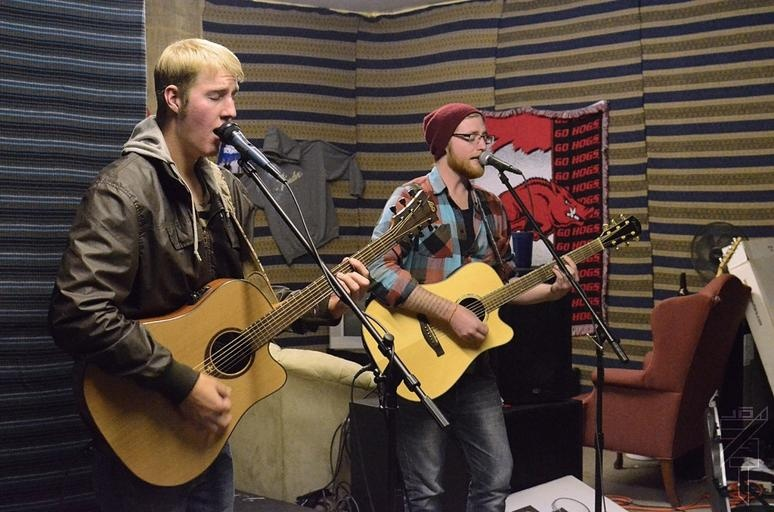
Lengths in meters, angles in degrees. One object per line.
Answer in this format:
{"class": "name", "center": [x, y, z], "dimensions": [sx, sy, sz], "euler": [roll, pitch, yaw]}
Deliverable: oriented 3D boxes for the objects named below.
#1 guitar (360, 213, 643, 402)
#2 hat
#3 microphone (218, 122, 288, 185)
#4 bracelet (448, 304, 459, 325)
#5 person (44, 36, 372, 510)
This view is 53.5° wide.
{"class": "guitar", "center": [0.629, 0.286, 4.486], "dimensions": [1.861, 0.734, 0.207], "euler": [-30, -10, -4]}
{"class": "hat", "center": [0.391, -0.710, 4.455], "dimensions": [0.418, 0.343, 0.311], "euler": [3, 14, 29]}
{"class": "microphone", "center": [-0.596, -0.457, 3.449], "dimensions": [0.388, 0.088, 0.090], "euler": [40, 45, 10]}
{"class": "bracelet", "center": [0.362, 0.322, 4.124], "dimensions": [0.021, 0.088, 0.051], "euler": [24, -3, -17]}
{"class": "person", "center": [-1.012, -0.108, 3.474], "dimensions": [0.950, 1.765, 0.571], "euler": [-1, 8, -27]}
